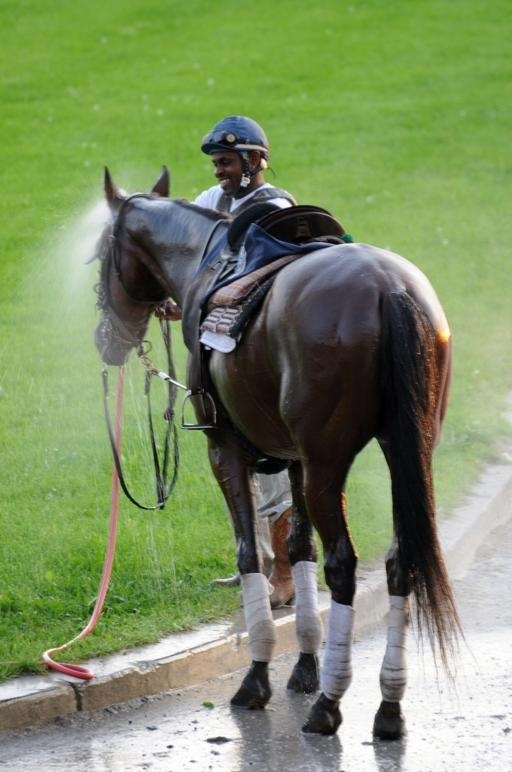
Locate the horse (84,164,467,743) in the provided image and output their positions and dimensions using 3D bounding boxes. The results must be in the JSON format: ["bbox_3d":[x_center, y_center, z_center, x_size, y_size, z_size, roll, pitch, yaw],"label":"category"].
[{"bbox_3d":[0.095,0.208,4.990,0.908,2.322,2.728,0,13,-29],"label":"horse"}]

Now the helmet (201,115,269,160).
[{"bbox_3d":[-0.073,-1.211,5.174,0.304,0.133,0.199,7,-6,-17],"label":"helmet"}]
